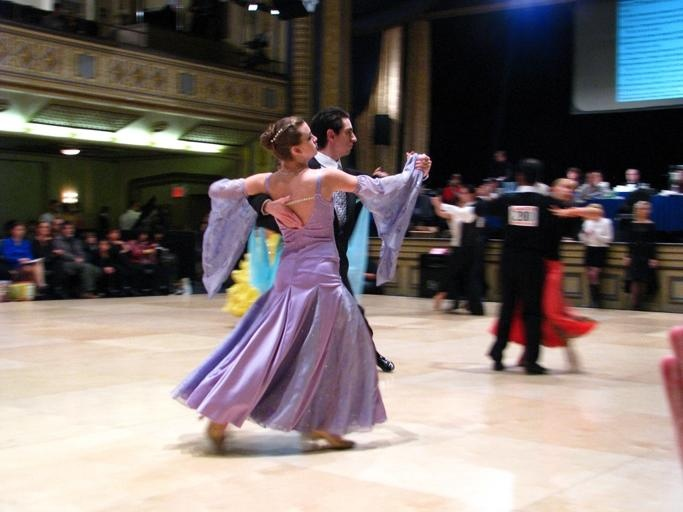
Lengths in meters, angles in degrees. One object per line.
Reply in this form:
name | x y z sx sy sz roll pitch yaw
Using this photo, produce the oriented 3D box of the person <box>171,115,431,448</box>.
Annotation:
person | -0.349 0.095 3.048 1.097 1.640 0.718 2 5 22
